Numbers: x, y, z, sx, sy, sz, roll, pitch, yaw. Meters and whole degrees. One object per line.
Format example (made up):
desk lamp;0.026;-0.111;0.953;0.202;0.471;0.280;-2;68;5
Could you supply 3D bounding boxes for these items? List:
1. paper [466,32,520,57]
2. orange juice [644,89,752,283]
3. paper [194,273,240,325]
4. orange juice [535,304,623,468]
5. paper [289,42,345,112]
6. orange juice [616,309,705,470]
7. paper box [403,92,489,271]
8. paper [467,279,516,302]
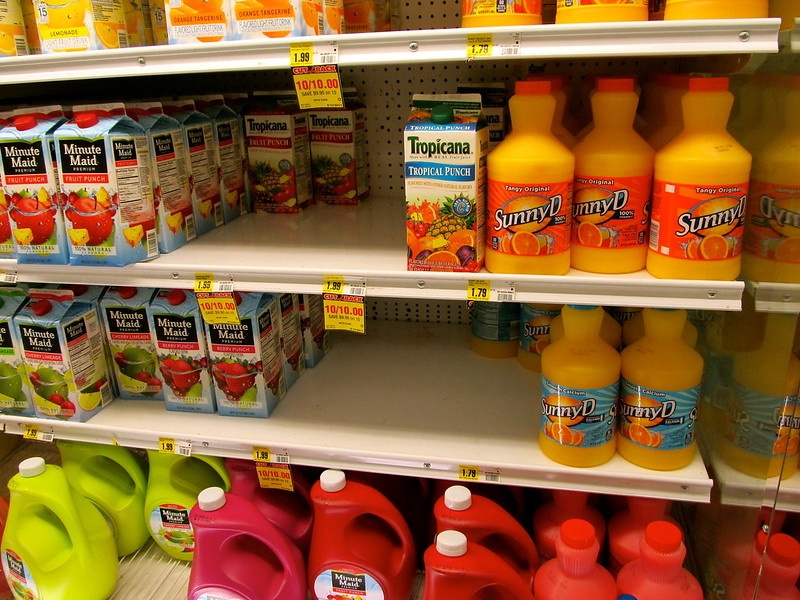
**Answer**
paper;0.222;-0.611;1.363;0.128;0.055;0.032;-1;24;7
orange juice;0.725;-0.283;1.370;0.215;0.469;0.165;6;25;21
paper;-0.556;-0.006;1.740;0.126;0.176;0.096;3;38;12
orange juice;0.511;0.243;1.608;0.220;0.475;0.162;2;24;13
paper;-0.220;-0.600;1.521;0.130;0.163;0.114;-2;24;4
orange juice;0.730;0.251;1.589;0.230;0.452;0.170;7;26;24
paper box;0.124;-0.317;1.546;0.219;0.441;0.230;0;24;9
paper;0.238;-0.022;1.491;0.090;0.020;0.065;4;22;10
